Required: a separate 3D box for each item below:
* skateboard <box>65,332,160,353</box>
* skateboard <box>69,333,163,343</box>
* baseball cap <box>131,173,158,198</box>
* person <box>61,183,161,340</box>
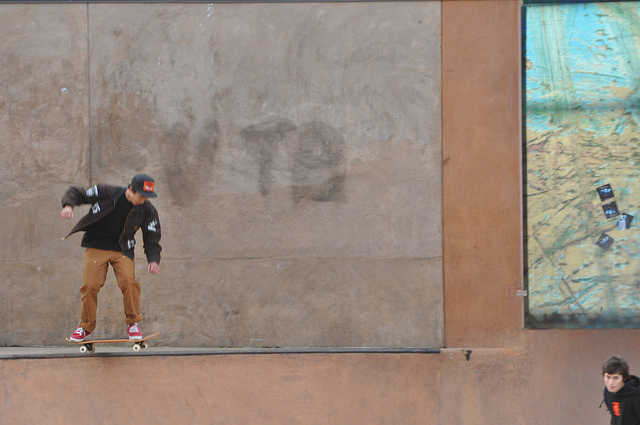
[{"bbox_3d":[-2.737,1.790,17.519,1.549,0.210,0.389,-1,2,0],"label":"skateboard"},{"bbox_3d":[-2.771,1.746,17.541,1.338,0.153,0.294,-1,-1,2],"label":"skateboard"},{"bbox_3d":[-2.296,-0.343,17.314,0.369,0.196,0.252,30,13,15],"label":"baseball cap"},{"bbox_3d":[-2.713,0.666,17.362,1.236,2.064,0.541,-2,-4,-6],"label":"person"}]
